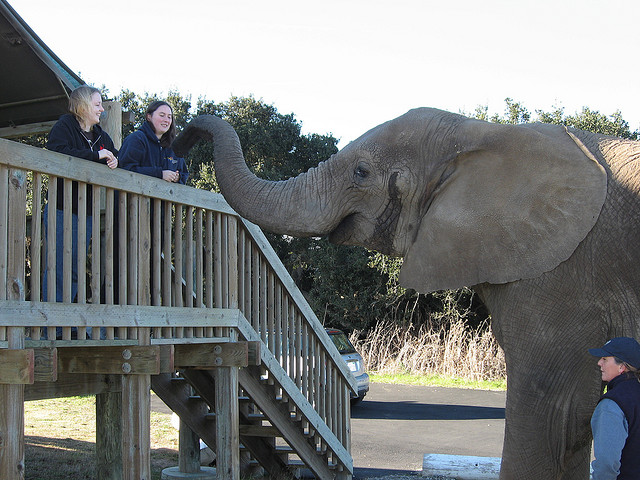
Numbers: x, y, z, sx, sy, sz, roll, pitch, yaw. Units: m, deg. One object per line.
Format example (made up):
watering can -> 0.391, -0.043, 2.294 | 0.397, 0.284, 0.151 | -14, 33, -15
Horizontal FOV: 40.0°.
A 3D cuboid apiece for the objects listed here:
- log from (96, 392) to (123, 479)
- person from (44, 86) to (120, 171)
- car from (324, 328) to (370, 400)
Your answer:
log -> -2.098, 1.947, 8.853 | 0.213, 0.998, 0.384 | -9, 7, -38
person -> -2.040, -0.969, 7.759 | 0.502, 0.749, 0.787 | 6, 3, 19
car -> 0.519, 2.301, 16.672 | 0.849, 0.869, 1.530 | -1, -2, -3
